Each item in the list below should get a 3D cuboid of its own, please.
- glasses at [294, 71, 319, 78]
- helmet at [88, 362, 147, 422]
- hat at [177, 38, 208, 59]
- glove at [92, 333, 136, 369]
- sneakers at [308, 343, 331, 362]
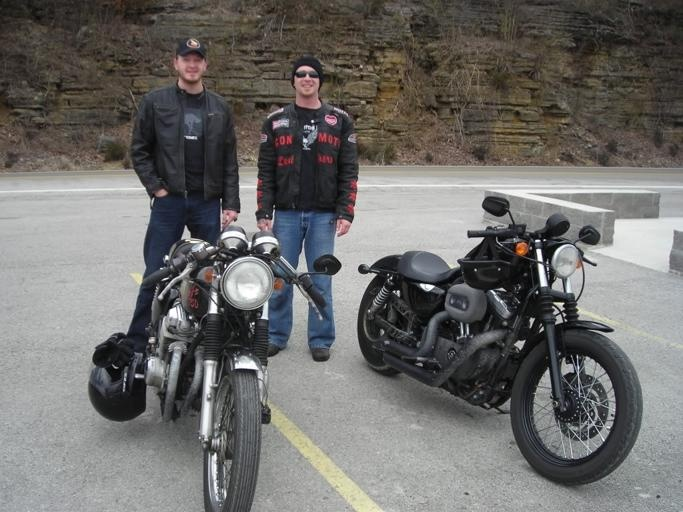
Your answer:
[{"bbox_3d":[-0.330,-1.733,5.628,0.242,0.079,0.089,0,16,-5],"label":"glasses"},{"bbox_3d":[-1.624,1.047,4.405,0.411,0.370,0.362,39,19,34],"label":"helmet"},{"bbox_3d":[-1.317,-1.838,5.224,0.222,0.177,0.500,-2,17,-10],"label":"hat"},{"bbox_3d":[-1.647,0.700,4.352,0.247,0.250,0.438,0,16,-6],"label":"glove"},{"bbox_3d":[-0.210,0.955,5.832,0.134,0.132,0.305,1,-5,-10],"label":"sneakers"}]
